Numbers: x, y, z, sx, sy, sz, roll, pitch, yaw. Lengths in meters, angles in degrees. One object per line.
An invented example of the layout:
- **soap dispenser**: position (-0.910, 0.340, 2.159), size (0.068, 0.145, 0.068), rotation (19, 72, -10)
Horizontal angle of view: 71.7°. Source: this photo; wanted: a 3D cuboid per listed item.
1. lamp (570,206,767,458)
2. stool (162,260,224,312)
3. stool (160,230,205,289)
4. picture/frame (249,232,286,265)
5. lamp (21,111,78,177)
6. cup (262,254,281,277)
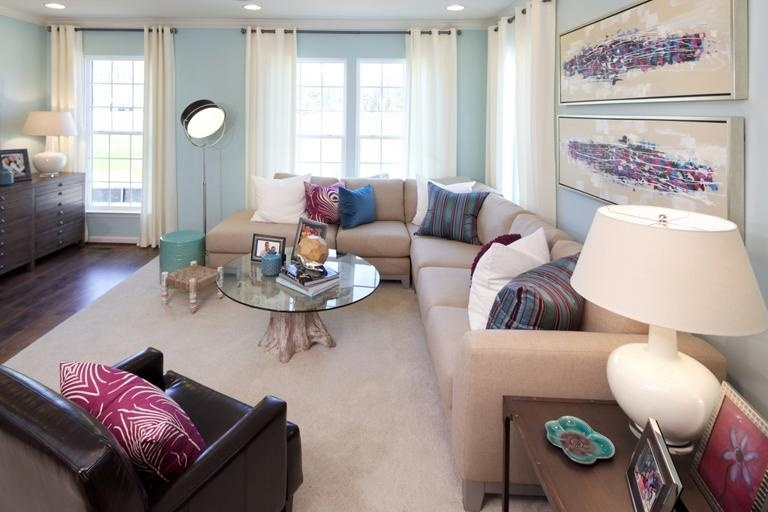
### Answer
- **lamp**: position (0.925, 0.245, 2.510), size (0.866, 1.154, 0.887), rotation (2, 13, 2)
- **stool**: position (-1.717, 0.199, 4.567), size (0.490, 0.334, 0.507), rotation (7, 15, 22)
- **stool**: position (-1.903, 0.031, 4.944), size (0.380, 0.448, 0.381), rotation (-4, 12, -34)
- **picture/frame**: position (-0.914, -0.045, 4.161), size (0.250, 0.197, 0.019), rotation (5, -3, 24)
- **lamp**: position (-3.762, -1.295, 6.097), size (0.628, 0.875, 0.661), rotation (17, 18, 40)
- **cup**: position (-0.837, 0.077, 3.933), size (0.151, 0.179, 0.155), rotation (2, 9, 0)
